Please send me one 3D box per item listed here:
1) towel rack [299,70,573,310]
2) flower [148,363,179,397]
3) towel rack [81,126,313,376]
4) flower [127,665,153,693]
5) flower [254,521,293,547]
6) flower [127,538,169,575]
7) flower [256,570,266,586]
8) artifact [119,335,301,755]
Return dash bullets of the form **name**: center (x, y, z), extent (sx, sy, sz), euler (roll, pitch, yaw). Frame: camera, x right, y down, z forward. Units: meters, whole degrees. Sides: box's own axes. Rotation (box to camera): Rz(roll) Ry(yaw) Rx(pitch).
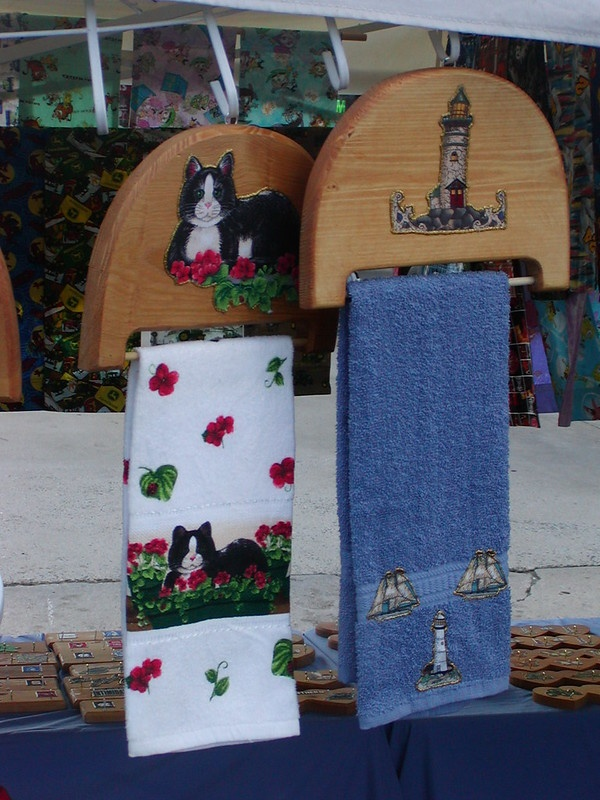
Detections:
- **towel rack**: center (0.177, -0.269, 1.070), extent (0.393, 0.283, 0.018), euler (-10, 14, -24)
- **flower**: center (-0.164, -0.025, 1.039), extent (0.042, 0.036, 0.013), euler (6, 13, -39)
- **towel rack**: center (-0.123, -0.194, 1.052), extent (0.326, 0.280, 0.059), euler (-12, 15, -31)
- **flower**: center (-0.200, 0.351, 1.061), extent (0.035, 0.017, 0.030), euler (3, 54, -7)
- **flower**: center (-0.031, 0.181, 1.147), extent (0.050, 0.022, 0.030), euler (-9, -4, -36)
- **flower**: center (-0.187, 0.196, 1.064), extent (0.055, 0.041, 0.013), euler (0, 11, -26)
- **flower**: center (-0.049, 0.242, 1.148), extent (0.009, 0.018, 0.019), euler (7, 15, 32)
- **artifact**: center (-0.108, 0.192, 1.092), extent (0.305, 0.536, 0.094), euler (-10, 15, -19)
